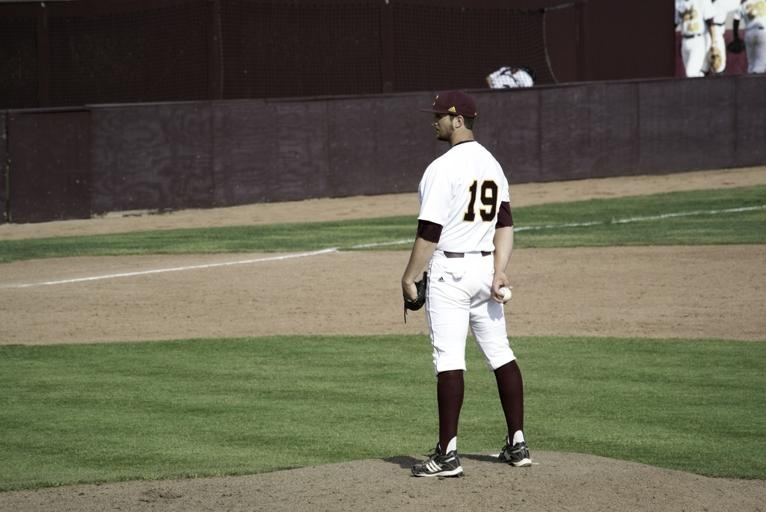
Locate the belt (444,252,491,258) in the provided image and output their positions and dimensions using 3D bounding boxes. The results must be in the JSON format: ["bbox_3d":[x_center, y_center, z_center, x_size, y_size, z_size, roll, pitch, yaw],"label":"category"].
[{"bbox_3d":[1.389,-0.054,27.905,0.804,0.114,0.077,-3,10,-8],"label":"belt"}]

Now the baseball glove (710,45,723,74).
[{"bbox_3d":[10.418,-6.252,52.443,0.610,0.774,0.303,6,-9,-32],"label":"baseball glove"}]
